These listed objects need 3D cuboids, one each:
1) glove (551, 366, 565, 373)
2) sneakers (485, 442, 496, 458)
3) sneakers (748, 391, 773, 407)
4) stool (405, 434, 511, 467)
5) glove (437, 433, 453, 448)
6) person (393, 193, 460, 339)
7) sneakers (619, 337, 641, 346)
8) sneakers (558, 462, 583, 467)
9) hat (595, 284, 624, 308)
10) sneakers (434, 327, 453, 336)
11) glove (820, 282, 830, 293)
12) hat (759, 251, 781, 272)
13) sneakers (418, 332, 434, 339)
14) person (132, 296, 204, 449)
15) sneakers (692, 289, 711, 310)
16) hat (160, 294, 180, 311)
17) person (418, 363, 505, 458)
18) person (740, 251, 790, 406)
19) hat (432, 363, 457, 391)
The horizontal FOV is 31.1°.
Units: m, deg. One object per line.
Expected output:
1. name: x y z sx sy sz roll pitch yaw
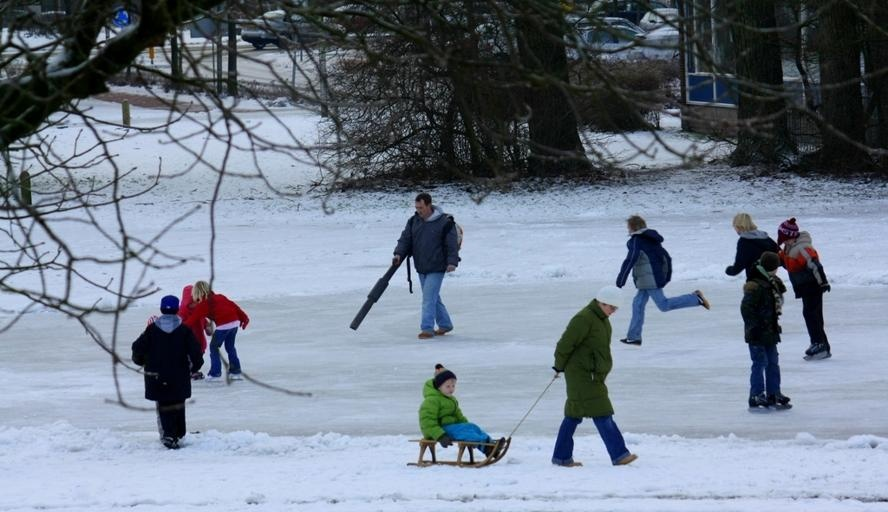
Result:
1. glove: 2.007 1.992 27.904 0.146 0.113 0.316 -4 -25 -9
2. sneakers: 0.814 3.315 27.330 0.330 0.273 0.129 -2 6 -3
3. sneakers: 5.679 2.599 28.616 0.405 0.216 0.196 -3 3 11
4. stool: 0.328 3.411 27.384 1.366 0.353 0.707 0 0 14
5. glove: 0.026 3.155 27.233 0.226 0.199 0.078 -17 -2 9
6. person: -0.317 0.189 32.309 1.223 2.875 0.964 0 6 19
7. sneakers: 3.664 1.686 31.357 0.413 0.150 0.137 6 7 17
8. sneakers: 2.190 3.565 27.229 0.240 0.060 0.148 -7 3 -25
9. hat: 2.877 0.697 27.391 0.486 0.253 0.323 11 10 12
10. sneakers: -0.013 1.542 32.261 0.452 0.177 0.122 0 46 -10
11. glove: 7.312 0.612 30.510 0.226 0.264 0.103 -3 -7 18
12. hat: 5.972 0.100 29.285 0.321 0.307 0.416 5 6 5
13. sneakers: -0.344 1.605 32.102 0.317 0.115 0.107 2 -2 -3
14. person: -4.854 2.055 28.249 1.179 2.569 1.125 -3 6 -9
15. sneakers: 5.243 0.919 32.516 0.201 0.440 0.169 -40 -18 9
16. hat: -4.931 0.854 28.692 0.354 0.264 0.242 0 11 4
17. person: 0.179 2.639 27.371 1.206 1.585 0.420 -2 6 -1
18. person: 5.830 1.354 28.887 0.828 2.725 0.917 -1 6 10
19. hat: 0.001 2.063 27.489 0.476 0.317 0.369 8 11 40
